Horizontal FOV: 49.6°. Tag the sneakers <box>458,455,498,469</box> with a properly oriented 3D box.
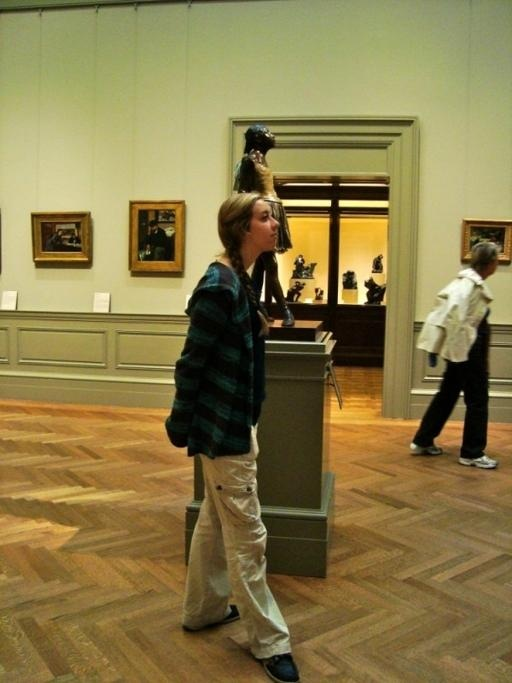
[{"bbox_3d":[1.798,0.967,4.458,0.269,0.119,0.107,-2,5,21],"label":"sneakers"}]

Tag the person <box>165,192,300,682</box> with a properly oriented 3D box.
[{"bbox_3d":[-0.073,0.284,1.793,0.419,1.547,0.467,0,2,-4],"label":"person"}]

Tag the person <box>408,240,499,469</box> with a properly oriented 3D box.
[{"bbox_3d":[1.666,0.103,4.592,0.656,1.797,0.538,1,2,11],"label":"person"}]

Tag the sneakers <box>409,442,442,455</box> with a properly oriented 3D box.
[{"bbox_3d":[1.481,0.929,4.900,0.295,0.129,0.105,0,8,-8],"label":"sneakers"}]
